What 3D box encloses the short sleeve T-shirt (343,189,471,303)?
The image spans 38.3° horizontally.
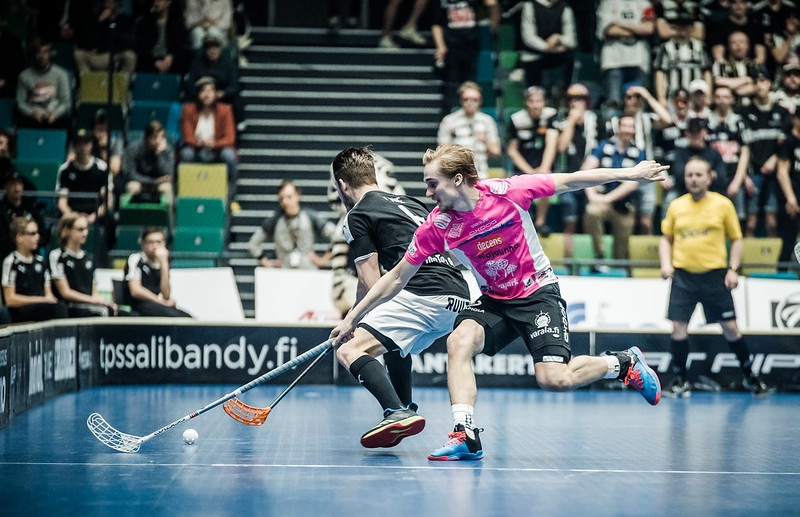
[{"bbox_3d":[0.008,-0.119,12.315,1.205,1.383,1.040,-17,0,29],"label":"short sleeve T-shirt"}]

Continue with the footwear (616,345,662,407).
[{"bbox_3d":[2.530,1.260,12.203,0.318,0.758,0.273,-31,2,-18],"label":"footwear"}]

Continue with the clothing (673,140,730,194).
[{"bbox_3d":[4.134,-1.219,15.842,0.614,0.878,0.272,3,6,12],"label":"clothing"}]

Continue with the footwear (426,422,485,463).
[{"bbox_3d":[0.516,1.859,11.479,0.643,0.373,0.261,-1,1,-4],"label":"footwear"}]

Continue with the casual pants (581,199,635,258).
[{"bbox_3d":[3.013,-0.420,16.607,0.761,1.394,0.392,0,6,9],"label":"casual pants"}]

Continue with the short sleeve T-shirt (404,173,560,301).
[{"bbox_3d":[0.825,-0.183,11.863,1.395,1.027,0.414,-29,24,12],"label":"short sleeve T-shirt"}]

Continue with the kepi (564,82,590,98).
[{"bbox_3d":[2.677,-2.485,17.212,0.262,0.158,0.264,2,-2,-25],"label":"kepi"}]

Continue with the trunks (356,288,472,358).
[{"bbox_3d":[0.126,0.628,12.023,1.027,0.486,0.625,-32,5,-18],"label":"trunks"}]

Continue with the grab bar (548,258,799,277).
[{"bbox_3d":[3.297,0.112,16.826,2.194,0.328,0.464,1,-3,1],"label":"grab bar"}]

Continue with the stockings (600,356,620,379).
[{"bbox_3d":[2.180,1.132,11.940,0.219,0.231,0.180,0,6,-6],"label":"stockings"}]

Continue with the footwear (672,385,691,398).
[{"bbox_3d":[3.586,1.692,14.692,0.170,0.081,0.171,4,-2,-44],"label":"footwear"}]

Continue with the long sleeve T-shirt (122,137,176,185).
[{"bbox_3d":[-3.705,-1.417,17.061,0.846,0.827,0.594,3,4,-33],"label":"long sleeve T-shirt"}]

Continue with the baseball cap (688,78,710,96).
[{"bbox_3d":[4.422,-2.550,17.140,0.298,0.212,0.668,-2,-1,14],"label":"baseball cap"}]

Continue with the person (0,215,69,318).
[{"bbox_3d":[-4.580,0.138,14.366,0.735,1.277,0.334,-1,-1,-23],"label":"person"}]

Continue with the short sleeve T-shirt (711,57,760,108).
[{"bbox_3d":[5.187,-2.714,17.758,0.645,0.854,0.318,-1,-44,8],"label":"short sleeve T-shirt"}]

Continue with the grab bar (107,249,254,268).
[{"bbox_3d":[-3.082,0.017,16.027,1.735,0.253,0.397,1,0,-8],"label":"grab bar"}]

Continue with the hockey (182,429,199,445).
[{"bbox_3d":[-2.166,1.848,11.970,0.142,0.143,0.204,-2,-1,-5],"label":"hockey"}]

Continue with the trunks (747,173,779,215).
[{"bbox_3d":[5.327,-0.963,16.955,0.564,0.769,0.298,1,-5,-12],"label":"trunks"}]

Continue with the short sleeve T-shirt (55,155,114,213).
[{"bbox_3d":[-4.359,-1.006,16.053,0.832,0.936,0.478,0,-1,7],"label":"short sleeve T-shirt"}]

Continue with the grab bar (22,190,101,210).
[{"bbox_3d":[-4.535,-0.854,15.574,0.813,0.225,0.457,2,-19,-9],"label":"grab bar"}]

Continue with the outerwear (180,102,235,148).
[{"bbox_3d":[-2.906,-1.984,17.535,0.993,0.999,0.609,1,1,-9],"label":"outerwear"}]
